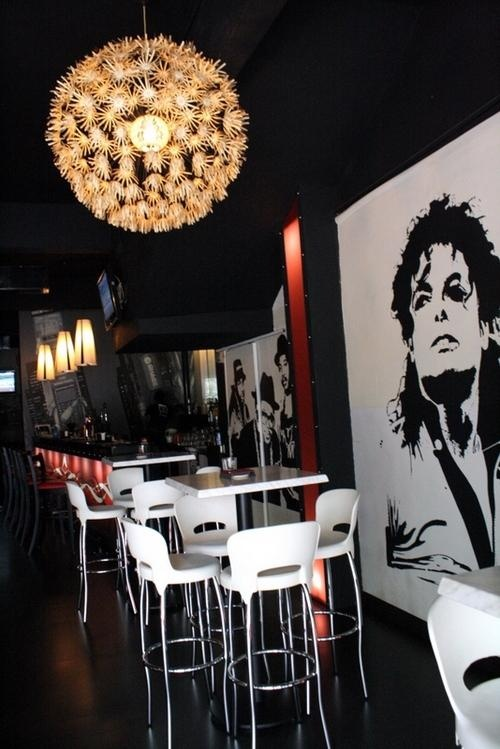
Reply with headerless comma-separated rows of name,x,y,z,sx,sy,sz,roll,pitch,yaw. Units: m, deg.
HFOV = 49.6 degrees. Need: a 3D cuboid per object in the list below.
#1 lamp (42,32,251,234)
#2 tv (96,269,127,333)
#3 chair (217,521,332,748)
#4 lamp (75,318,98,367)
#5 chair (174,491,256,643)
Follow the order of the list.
lamp,-0.348,-0.803,1.857,0.655,0.473,0.620,-6,-3,-26
tv,-1.436,-0.784,5.578,0.168,0.767,0.673,-8,-4,-19
chair,0.072,0.902,2.031,0.418,0.711,0.869,-6,-2,4
lamp,-1.887,-0.374,6.129,0.185,0.407,0.307,-4,-3,-33
chair,-0.203,0.840,2.616,0.308,0.610,0.356,0,-6,-16
